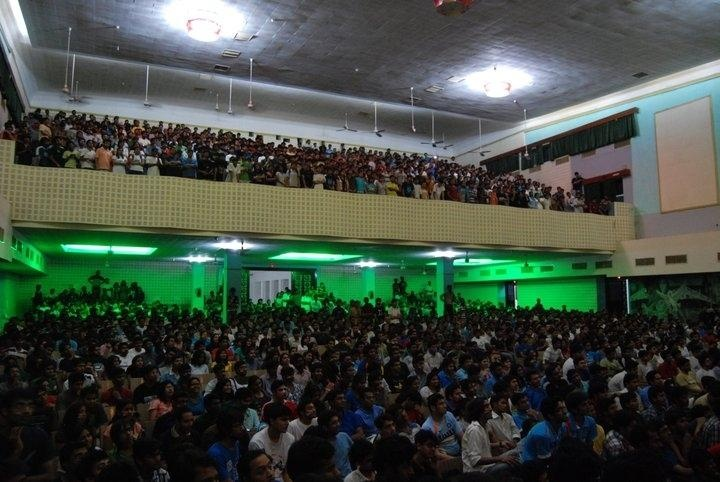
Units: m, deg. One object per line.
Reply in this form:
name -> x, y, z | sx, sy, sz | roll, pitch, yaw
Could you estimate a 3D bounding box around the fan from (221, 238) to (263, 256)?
fan -> -4.400, 0.320, 20.593 | 1.511, 0.392, 4.349 | -1, -5, -8
